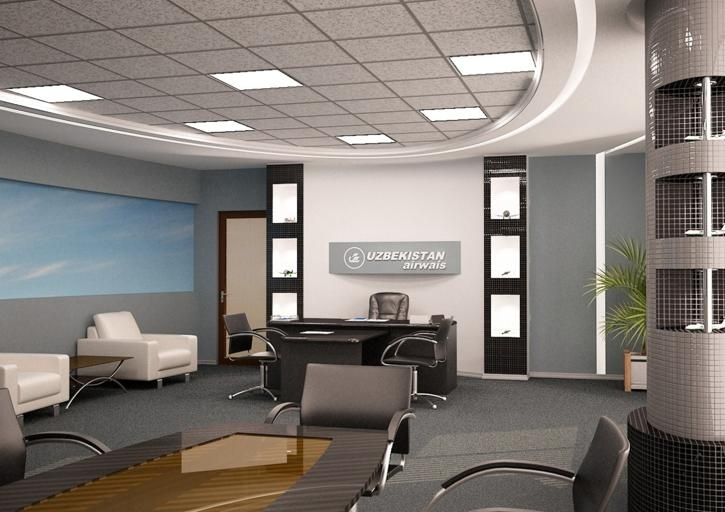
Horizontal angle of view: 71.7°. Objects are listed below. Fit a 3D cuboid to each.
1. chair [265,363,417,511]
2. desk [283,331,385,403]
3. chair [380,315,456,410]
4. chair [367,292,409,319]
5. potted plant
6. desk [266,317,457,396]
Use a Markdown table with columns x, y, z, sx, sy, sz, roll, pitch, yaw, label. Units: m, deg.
| x | y | z | sx | sy | sz | roll | pitch | yaw | label |
| --- | --- | --- | --- | --- | --- | --- | --- | --- | --- |
| -0.064 | 1.005 | 3.383 | 1.152 | 0.885 | 1.023 | -3 | -9 | 19 | chair |
| -0.366 | 1.184 | 6.429 | 1.502 | 0.645 | 0.756 | 4 | 7 | -6 | desk |
| 0.851 | 1.537 | 7.442 | 1.318 | 1.286 | 1.208 | -1 | -5 | 6 | chair |
| 0.490 | 0.868 | 8.887 | 0.521 | 0.615 | 0.568 | 0 | -5 | 9 | chair |
| 4.130 | 0.876 | 8.136 | 0.860 | 2.387 | 1.559 | -1 | -2 | 25 | potted plant |
| -0.291 | 1.342 | 7.321 | 1.829 | 0.641 | 1.607 | -1 | -7 | 16 | desk |
